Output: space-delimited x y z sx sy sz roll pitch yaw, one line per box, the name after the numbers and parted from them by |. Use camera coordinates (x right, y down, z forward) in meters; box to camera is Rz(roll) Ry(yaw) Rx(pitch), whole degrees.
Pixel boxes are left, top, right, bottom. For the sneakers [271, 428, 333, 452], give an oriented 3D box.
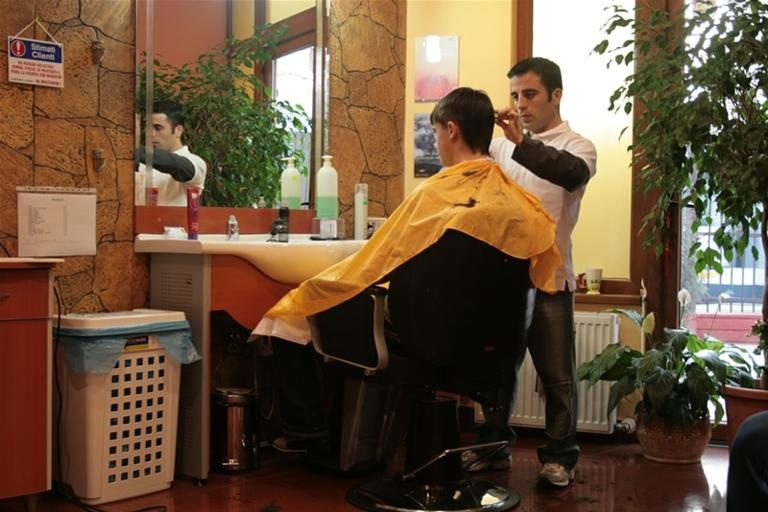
-0.377 0.910 3.382 0.339 0.147 0.117 -1 1 9 | sneakers

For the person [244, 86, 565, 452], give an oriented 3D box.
0.202 -0.041 3.065 1.117 1.096 1.135 8 3 42 | person

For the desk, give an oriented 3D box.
-0.619 0.484 3.121 0.426 1.104 1.134 1 1 37 | desk

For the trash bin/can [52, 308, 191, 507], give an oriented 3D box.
-1.167 0.675 3.327 0.733 0.980 0.712 2 -4 -39 | trash bin/can

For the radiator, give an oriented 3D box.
0.840 0.556 3.280 0.749 0.568 0.082 -3 -6 41 | radiator

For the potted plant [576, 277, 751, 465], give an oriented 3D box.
1.478 0.610 3.668 0.792 0.602 0.803 0 -5 7 | potted plant

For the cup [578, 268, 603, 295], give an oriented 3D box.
1.193 0.135 3.939 0.158 0.161 0.104 1 0 44 | cup

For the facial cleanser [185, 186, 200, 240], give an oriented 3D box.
-0.936 -0.213 3.327 0.050 0.255 0.134 1 -3 -19 | facial cleanser
